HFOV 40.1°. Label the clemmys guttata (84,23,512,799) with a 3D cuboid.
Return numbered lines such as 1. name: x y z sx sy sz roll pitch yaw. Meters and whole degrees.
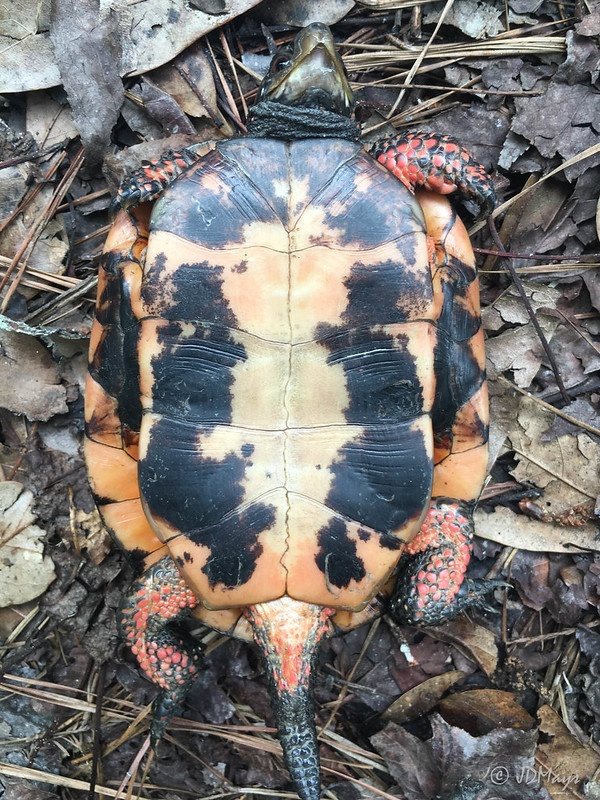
1. clemmys guttata: -0.006 0.008 3.924 2.158 0.848 2.875 1 87 0
